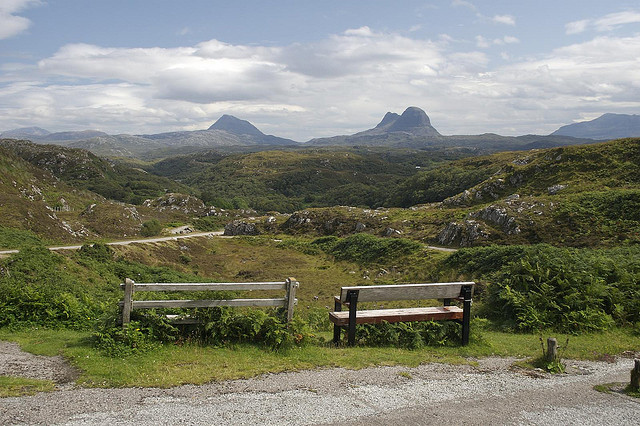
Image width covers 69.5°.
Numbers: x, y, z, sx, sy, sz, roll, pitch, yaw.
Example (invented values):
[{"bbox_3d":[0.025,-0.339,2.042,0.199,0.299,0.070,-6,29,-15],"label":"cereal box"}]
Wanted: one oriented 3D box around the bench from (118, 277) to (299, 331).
[{"bbox_3d":[-4.083,2.967,17.135,6.838,1.666,0.560,1,29,-6],"label":"bench"}]
